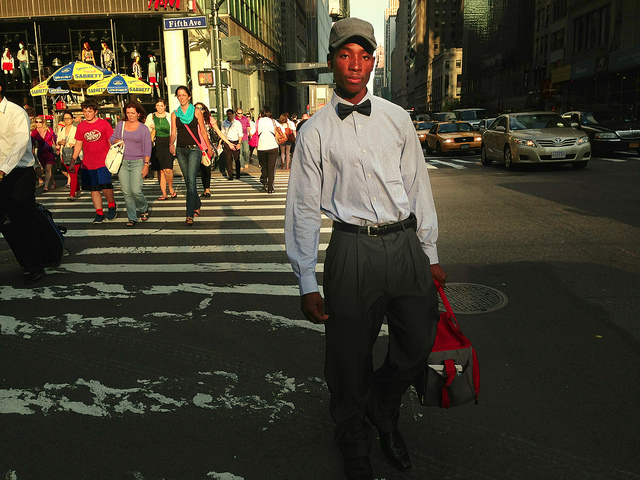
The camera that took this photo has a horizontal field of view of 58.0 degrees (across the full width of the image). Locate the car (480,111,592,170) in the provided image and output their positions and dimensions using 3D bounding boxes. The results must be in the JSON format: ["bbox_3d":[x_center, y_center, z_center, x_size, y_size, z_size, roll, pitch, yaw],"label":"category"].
[{"bbox_3d":[6.780,-3.148,18.479,2.025,1.706,3.514,-6,15,-18],"label":"car"}]

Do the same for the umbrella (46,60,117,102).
[{"bbox_3d":[-8.790,-5.976,21.229,1.653,1.294,1.722,-4,26,9],"label":"umbrella"}]

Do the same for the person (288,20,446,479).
[{"bbox_3d":[0.293,0.100,3.457,0.940,2.725,0.496,-3,12,-5],"label":"person"}]

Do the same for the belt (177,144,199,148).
[{"bbox_3d":[-2.410,-1.721,10.609,0.340,0.050,0.049,-5,14,-11],"label":"belt"}]

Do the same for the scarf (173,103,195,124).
[{"bbox_3d":[-2.464,-2.286,10.587,0.271,0.369,0.175,-3,1,3],"label":"scarf"}]

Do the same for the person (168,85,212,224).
[{"bbox_3d":[-2.344,-1.578,10.585,0.653,2.360,0.751,-7,13,-23],"label":"person"}]

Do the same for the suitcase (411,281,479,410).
[{"bbox_3d":[0.774,0.698,3.643,0.486,0.710,0.446,-16,20,-39],"label":"suitcase"}]

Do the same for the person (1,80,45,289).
[{"bbox_3d":[-3.572,-0.593,6.783,0.459,2.276,0.745,-7,13,-26],"label":"person"}]

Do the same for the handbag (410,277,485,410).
[{"bbox_3d":[0.775,0.631,3.642,0.391,0.772,0.440,-2,6,6],"label":"handbag"}]

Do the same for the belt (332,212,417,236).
[{"bbox_3d":[0.334,-0.075,3.402,0.474,0.073,0.113,-4,14,-8],"label":"belt"}]

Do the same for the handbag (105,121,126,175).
[{"bbox_3d":[-3.611,-1.535,10.203,0.360,0.763,0.614,-6,14,-19],"label":"handbag"}]
